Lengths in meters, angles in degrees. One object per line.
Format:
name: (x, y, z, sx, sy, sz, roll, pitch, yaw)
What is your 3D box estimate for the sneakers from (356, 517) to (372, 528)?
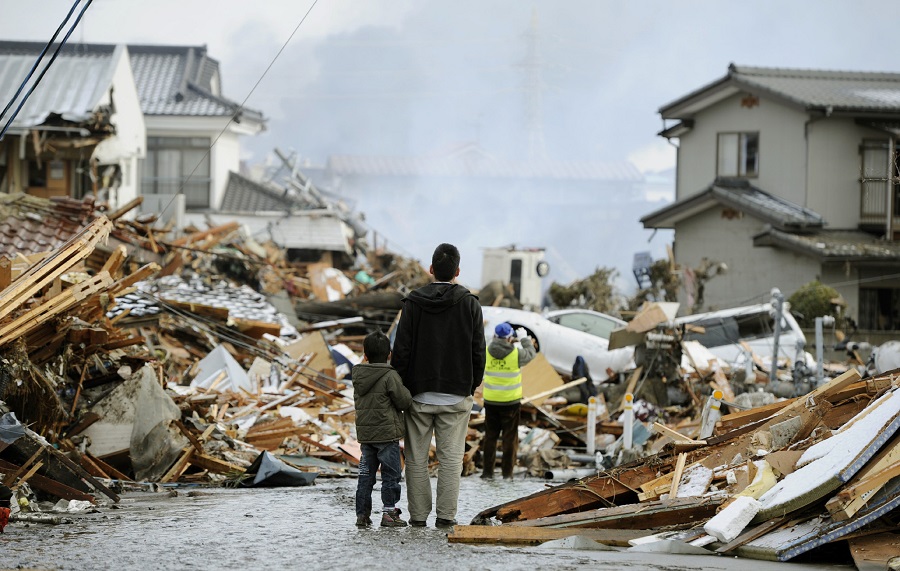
sneakers: (-1.579, 4.336, 28.130, 0.227, 0.238, 0.167, 1, 1, -26)

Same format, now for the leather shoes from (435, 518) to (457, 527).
leather shoes: (-0.070, 4.349, 28.151, 0.398, 0.203, 0.153, -1, 6, -6)

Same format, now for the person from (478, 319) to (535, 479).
person: (1.166, 2.367, 31.451, 0.980, 3.161, 0.891, 2, -6, 3)

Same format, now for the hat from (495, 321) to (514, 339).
hat: (1.105, 0.902, 31.449, 0.272, 0.364, 0.363, 13, -31, 34)
